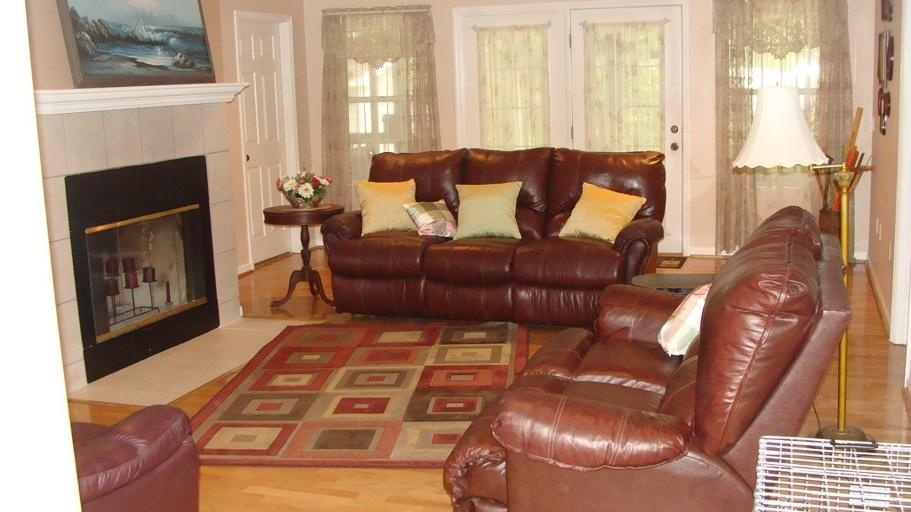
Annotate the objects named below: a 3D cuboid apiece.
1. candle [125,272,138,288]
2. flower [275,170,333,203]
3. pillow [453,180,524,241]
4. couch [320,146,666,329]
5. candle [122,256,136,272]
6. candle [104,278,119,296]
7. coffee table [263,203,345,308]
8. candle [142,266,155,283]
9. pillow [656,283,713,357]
[{"bbox_3d":[-2.437,0.183,4.972,0.107,0.092,0.112,-3,5,6],"label":"candle"},{"bbox_3d":[-1.427,-0.623,6.286,0.442,0.259,0.408,1,-7,-7],"label":"flower"},{"bbox_3d":[0.291,-0.382,5.786,0.643,0.470,0.276,0,2,6],"label":"pillow"},{"bbox_3d":[0.288,-0.220,5.872,2.899,1.272,1.290,2,22,19],"label":"couch"},{"bbox_3d":[-2.453,0.060,4.982,0.042,0.124,0.126,-1,15,9],"label":"candle"},{"bbox_3d":[-2.504,0.225,4.822,0.118,0.114,0.109,-3,5,-15],"label":"candle"},{"bbox_3d":[-1.437,-0.010,6.354,0.828,0.852,0.814,-3,1,24],"label":"coffee table"},{"bbox_3d":[-2.380,0.149,5.137,0.116,0.101,0.108,-2,9,3],"label":"candle"},{"bbox_3d":[1.197,0.333,3.491,0.407,0.238,0.126,-53,19,-15],"label":"pillow"}]
